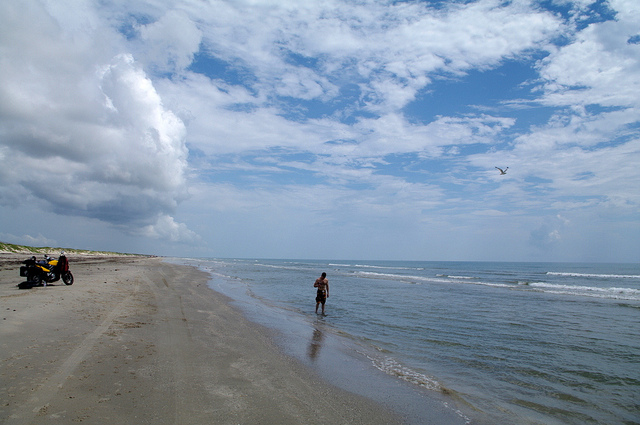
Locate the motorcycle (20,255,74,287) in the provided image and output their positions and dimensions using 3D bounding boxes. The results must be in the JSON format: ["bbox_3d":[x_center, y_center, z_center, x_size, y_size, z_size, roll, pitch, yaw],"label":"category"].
[{"bbox_3d":[-18.063,3.923,24.308,1.345,1.811,2.748,-4,-10,41],"label":"motorcycle"}]
